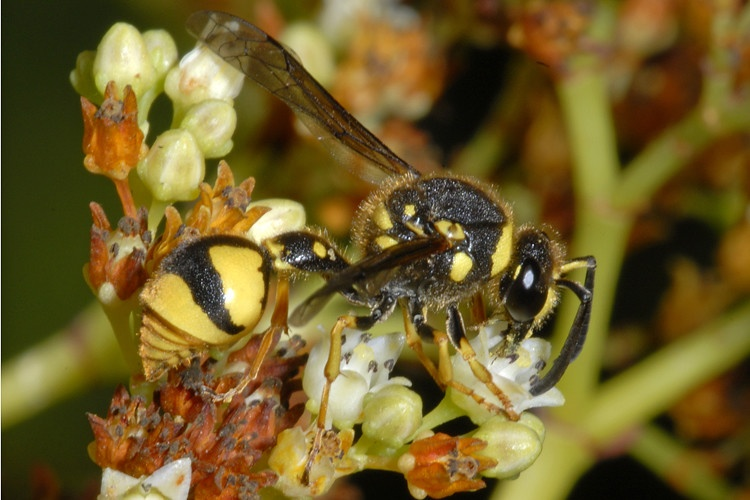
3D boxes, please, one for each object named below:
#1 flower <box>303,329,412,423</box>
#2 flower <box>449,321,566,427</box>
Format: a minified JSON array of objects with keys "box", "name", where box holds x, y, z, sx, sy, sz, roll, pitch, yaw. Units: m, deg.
[{"box":[-0.046,0.262,1.741,0.215,0.100,0.324,0,26,-2],"name":"flower"},{"box":[0.261,0.286,1.749,0.225,0.212,0.189,2,27,6],"name":"flower"}]
